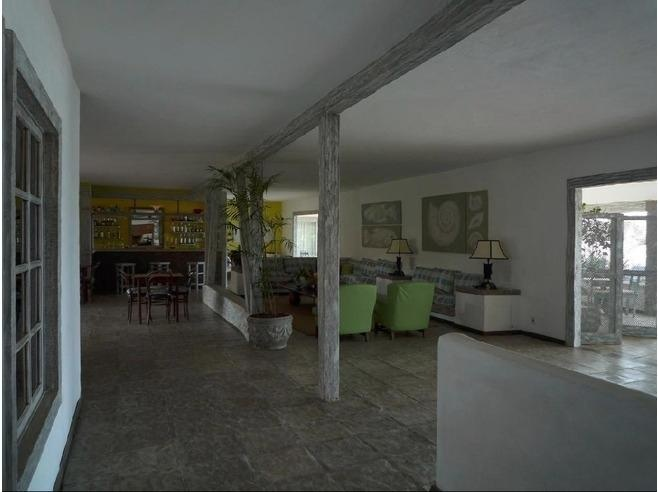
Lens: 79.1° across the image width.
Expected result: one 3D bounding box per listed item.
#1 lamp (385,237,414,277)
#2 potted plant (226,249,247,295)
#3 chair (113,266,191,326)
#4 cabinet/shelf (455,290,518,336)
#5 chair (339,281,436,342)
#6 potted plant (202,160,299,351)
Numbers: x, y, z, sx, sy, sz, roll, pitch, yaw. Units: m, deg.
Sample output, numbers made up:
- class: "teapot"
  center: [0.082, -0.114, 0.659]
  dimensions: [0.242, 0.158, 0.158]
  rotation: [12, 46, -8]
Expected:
- class: "lamp"
  center: [1.599, 0.255, 8.949]
  dimensions: [0.686, 0.993, 0.563]
  rotation: [6, 9, 30]
- class: "potted plant"
  center: [-2.195, 0.620, 9.378]
  dimensions: [0.570, 1.137, 1.111]
  rotation: [1, -1, -15]
- class: "chair"
  center: [-3.385, 0.944, 7.833]
  dimensions: [1.098, 0.927, 1.974]
  rotation: [-1, -1, -24]
- class: "cabinet/shelf"
  center: [2.679, 1.057, 6.758]
  dimensions: [0.692, 0.606, 0.754]
  rotation: [1, -3, -19]
- class: "chair"
  center: [0.865, 0.926, 6.058]
  dimensions: [0.869, 0.721, 1.167]
  rotation: [0, 0, -20]
- class: "potted plant"
  center: [-1.297, -0.051, 6.613]
  dimensions: [1.135, 3.065, 2.851]
  rotation: [-1, -1, -15]
